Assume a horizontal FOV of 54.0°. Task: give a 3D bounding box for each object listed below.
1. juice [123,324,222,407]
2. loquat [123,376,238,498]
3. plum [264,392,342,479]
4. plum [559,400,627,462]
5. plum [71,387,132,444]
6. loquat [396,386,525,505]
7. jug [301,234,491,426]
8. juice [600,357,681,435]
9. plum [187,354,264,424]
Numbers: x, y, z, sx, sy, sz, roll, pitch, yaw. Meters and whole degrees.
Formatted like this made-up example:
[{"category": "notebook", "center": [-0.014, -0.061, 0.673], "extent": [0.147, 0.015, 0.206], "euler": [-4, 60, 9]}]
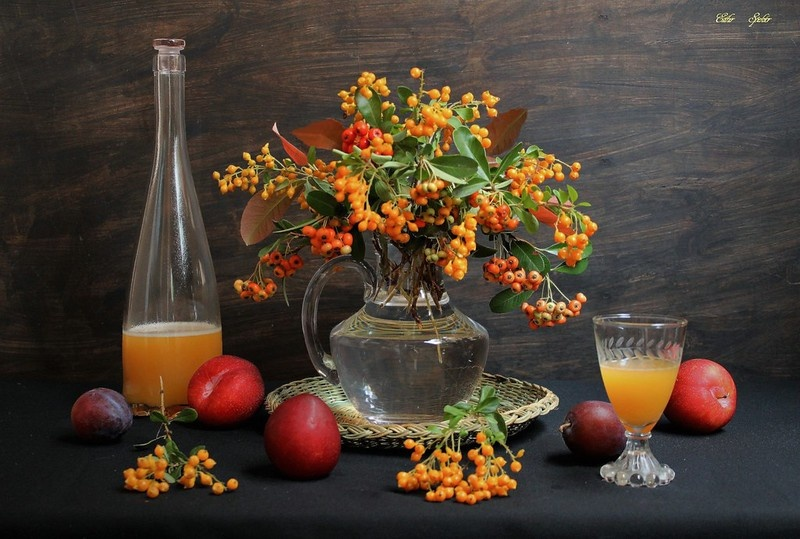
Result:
[{"category": "juice", "center": [-0.441, 0.179, 1.535], "extent": [0.188, 0.114, 0.168], "euler": [0, -1, -3]}, {"category": "loquat", "center": [-0.353, 0.288, 1.325], "extent": [0.178, 0.168, 0.172], "euler": [4, -18, -30]}, {"category": "plum", "center": [-0.154, 0.273, 1.292], "extent": [0.125, 0.131, 0.132], "euler": [-3, -12, 37]}, {"category": "plum", "center": [0.327, 0.270, 1.328], "extent": [0.093, 0.086, 0.084], "euler": [-9, 0, 9]}, {"category": "plum", "center": [-0.518, 0.257, 1.423], "extent": [0.112, 0.088, 0.098], "euler": [1, 1, 10]}, {"category": "loquat", "center": [0.088, 0.288, 1.264], "extent": [0.186, 0.141, 0.082], "euler": [6, -10, 5]}, {"category": "jug", "center": [-0.013, 0.113, 1.451], "extent": [0.365, 0.292, 0.264], "euler": [2, 3, 21]}, {"category": "juice", "center": [0.375, 0.189, 1.242], "extent": [0.130, 0.106, 0.127], "euler": [-1, 0, -42]}, {"category": "plum", "center": [-0.316, 0.224, 1.491], "extent": [0.140, 0.116, 0.131], "euler": [-9, -8, 31]}]
